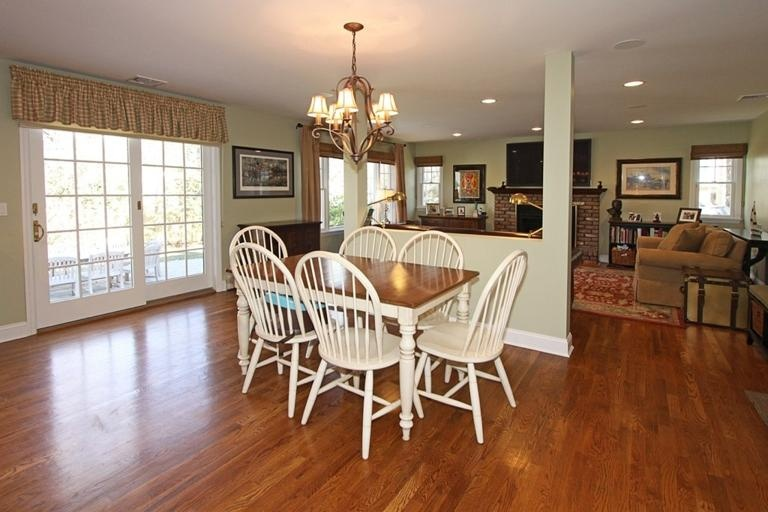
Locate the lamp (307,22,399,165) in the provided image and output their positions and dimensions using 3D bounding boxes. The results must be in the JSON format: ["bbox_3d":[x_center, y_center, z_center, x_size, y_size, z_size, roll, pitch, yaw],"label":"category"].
[{"bbox_3d":[-0.237,-1.536,4.564,0.822,1.243,0.818,5,9,44],"label":"lamp"}]

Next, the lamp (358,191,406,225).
[{"bbox_3d":[0.034,-0.793,8.030,0.651,0.262,0.844,-9,-32,-5],"label":"lamp"}]

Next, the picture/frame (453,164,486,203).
[{"bbox_3d":[1.857,-1.579,10.476,0.779,0.944,0.072,3,4,35],"label":"picture/frame"}]

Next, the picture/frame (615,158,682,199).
[{"bbox_3d":[4.879,-1.432,8.899,0.732,0.622,0.054,4,11,33],"label":"picture/frame"}]

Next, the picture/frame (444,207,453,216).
[{"bbox_3d":[1.419,-0.961,10.634,0.235,0.250,0.175,-1,-3,10],"label":"picture/frame"}]

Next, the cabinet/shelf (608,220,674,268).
[{"bbox_3d":[4.147,-0.197,7.816,0.796,0.709,0.282,2,3,42],"label":"cabinet/shelf"}]

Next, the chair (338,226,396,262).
[{"bbox_3d":[-0.182,-0.137,5.804,0.529,0.725,0.482,1,0,24],"label":"chair"}]

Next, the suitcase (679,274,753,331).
[{"bbox_3d":[3.836,0.531,5.631,0.628,0.635,0.568,1,2,29],"label":"suitcase"}]

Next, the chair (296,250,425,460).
[{"bbox_3d":[-0.193,0.677,3.982,0.829,1.558,0.870,7,16,31],"label":"chair"}]

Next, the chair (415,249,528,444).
[{"bbox_3d":[0.707,0.648,4.087,0.839,1.546,0.904,-9,16,-36],"label":"chair"}]

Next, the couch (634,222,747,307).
[{"bbox_3d":[4.156,0.099,6.854,1.061,1.207,1.858,6,7,26],"label":"couch"}]

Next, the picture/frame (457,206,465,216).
[{"bbox_3d":[1.646,-0.967,10.555,0.172,0.191,0.200,3,0,3],"label":"picture/frame"}]

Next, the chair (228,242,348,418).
[{"bbox_3d":[-0.869,0.553,4.250,0.798,1.406,0.759,2,12,12],"label":"chair"}]

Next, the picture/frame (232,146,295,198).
[{"bbox_3d":[-1.912,-1.304,7.509,0.031,0.633,0.880,5,6,37],"label":"picture/frame"}]

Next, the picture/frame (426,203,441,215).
[{"bbox_3d":[1.072,-1.022,10.606,0.249,0.249,0.091,3,12,15],"label":"picture/frame"}]
